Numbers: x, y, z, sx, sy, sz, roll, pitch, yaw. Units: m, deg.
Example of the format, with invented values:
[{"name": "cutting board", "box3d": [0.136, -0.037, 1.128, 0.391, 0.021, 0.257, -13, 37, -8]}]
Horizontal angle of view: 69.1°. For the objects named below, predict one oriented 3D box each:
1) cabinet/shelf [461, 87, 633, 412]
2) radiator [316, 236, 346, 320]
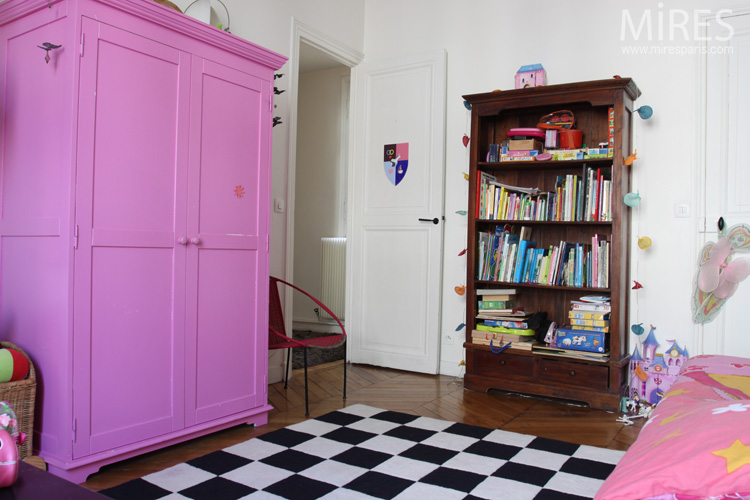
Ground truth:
[{"name": "cabinet/shelf", "box3d": [1.403, -0.080, 4.487, 1.307, 2.495, 0.578, 2, 4, 25]}, {"name": "radiator", "box3d": [-0.539, 0.336, 6.484, 0.146, 0.961, 0.535, -13, -16, 37]}]
